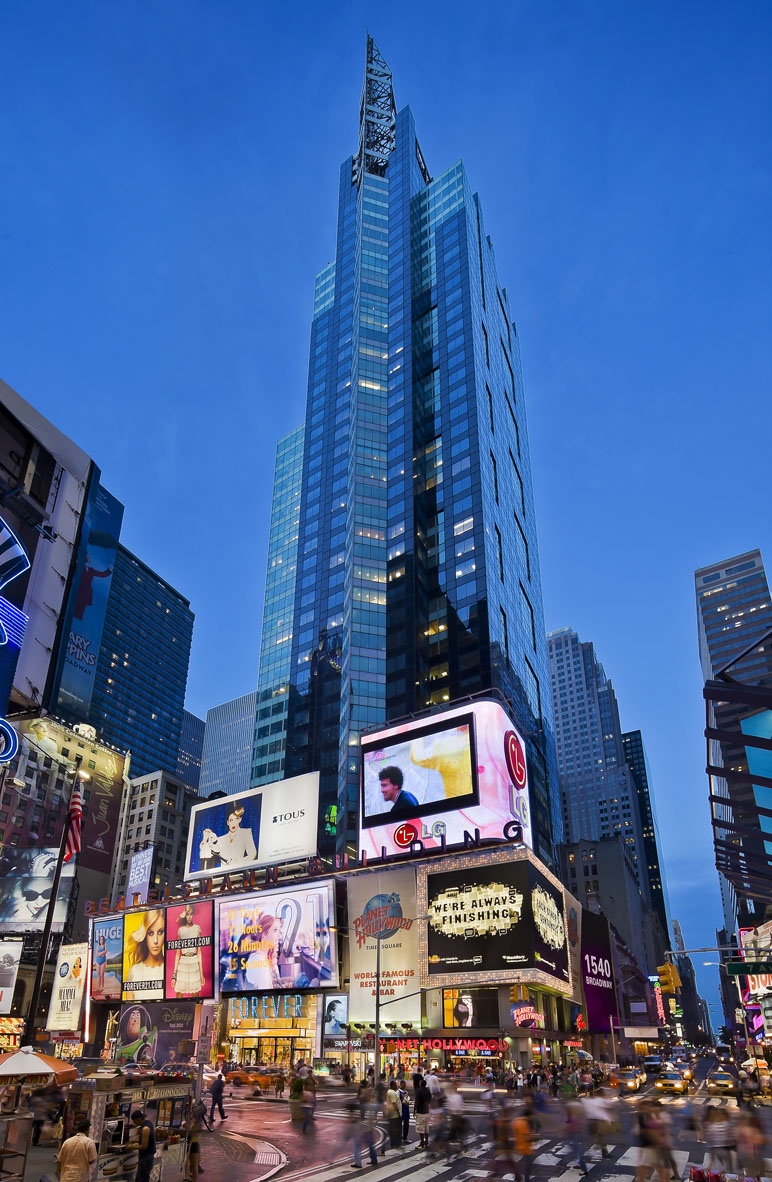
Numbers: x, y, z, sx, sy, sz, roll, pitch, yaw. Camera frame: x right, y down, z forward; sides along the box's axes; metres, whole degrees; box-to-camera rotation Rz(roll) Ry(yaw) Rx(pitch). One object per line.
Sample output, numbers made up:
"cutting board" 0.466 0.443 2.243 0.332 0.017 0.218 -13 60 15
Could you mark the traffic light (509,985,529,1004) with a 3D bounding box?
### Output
"traffic light" 9.138 27.983 51.366 1.049 0.921 1.080 12 -23 -27
